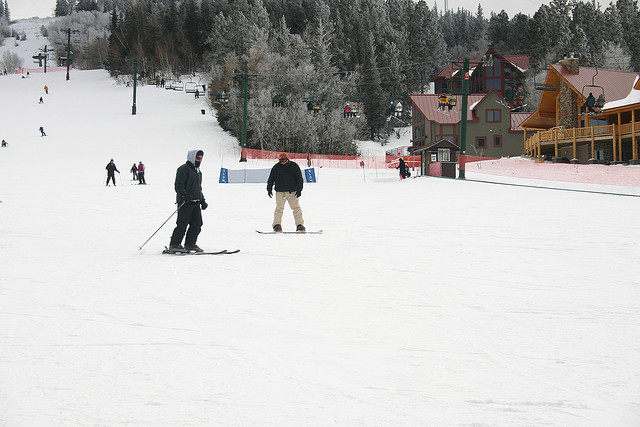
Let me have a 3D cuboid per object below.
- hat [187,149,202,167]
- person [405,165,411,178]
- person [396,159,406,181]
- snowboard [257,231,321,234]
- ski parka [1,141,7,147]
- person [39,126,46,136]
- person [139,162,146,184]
[{"bbox_3d":[-9.157,-4.051,71.362,0.778,1.037,1.049,1,14,-36],"label":"hat"},{"bbox_3d":[8.047,-4.040,92.680,0.331,0.928,0.688,1,5,-5],"label":"person"},{"bbox_3d":[7.529,-4.186,92.025,0.520,1.944,1.040,0,11,6],"label":"person"},{"bbox_3d":[-2.928,1.360,73.704,3.477,0.143,0.431,0,11,0],"label":"snowboard"},{"bbox_3d":[-32.531,-7.234,102.103,0.341,0.521,1.065,-5,12,-21],"label":"ski parka"},{"bbox_3d":[-30.080,-9.043,107.817,0.569,0.914,1.685,-4,11,-16],"label":"person"},{"bbox_3d":[-16.178,-3.722,89.811,0.462,1.881,0.821,-3,11,-11],"label":"person"}]
